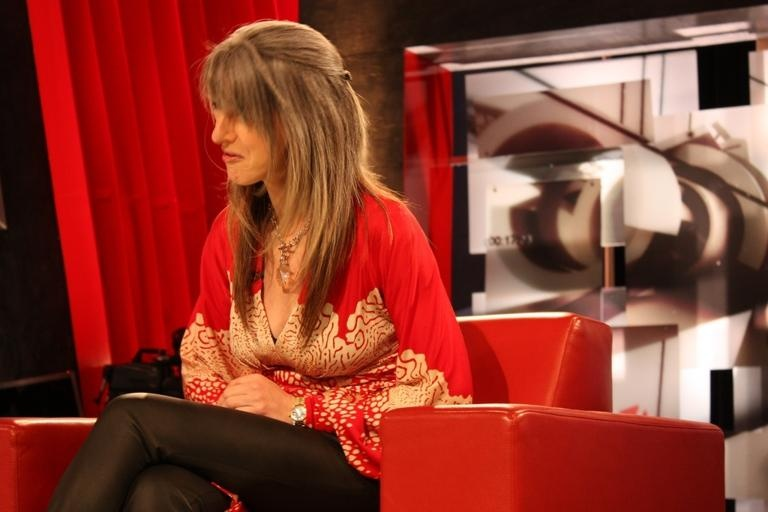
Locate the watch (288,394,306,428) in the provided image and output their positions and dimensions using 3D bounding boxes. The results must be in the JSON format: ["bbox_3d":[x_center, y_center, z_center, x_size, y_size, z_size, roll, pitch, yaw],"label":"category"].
[{"bbox_3d":[-0.181,0.347,1.554,0.033,0.054,0.048,1,-3,-7],"label":"watch"}]
